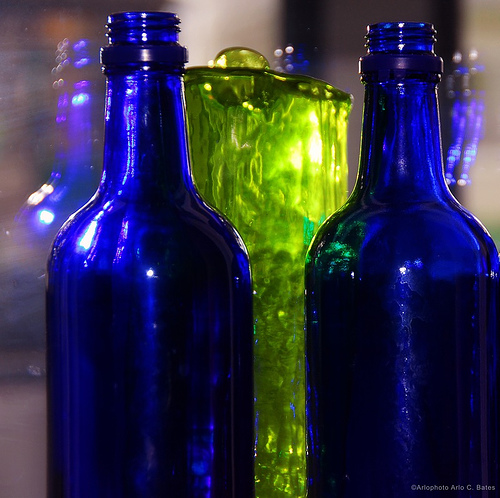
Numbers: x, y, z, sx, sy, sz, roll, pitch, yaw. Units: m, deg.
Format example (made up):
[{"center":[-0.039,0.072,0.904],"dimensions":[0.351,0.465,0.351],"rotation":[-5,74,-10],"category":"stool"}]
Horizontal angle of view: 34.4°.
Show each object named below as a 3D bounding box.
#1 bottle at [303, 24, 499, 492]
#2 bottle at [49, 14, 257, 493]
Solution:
[{"center":[0.082,0.008,0.422],"dimensions":[0.101,0.245,0.057],"rotation":[0,8,-2],"category":"bottle"},{"center":[-0.047,0.004,0.403],"dimensions":[0.106,0.238,0.063],"rotation":[1,8,-1],"category":"bottle"}]
